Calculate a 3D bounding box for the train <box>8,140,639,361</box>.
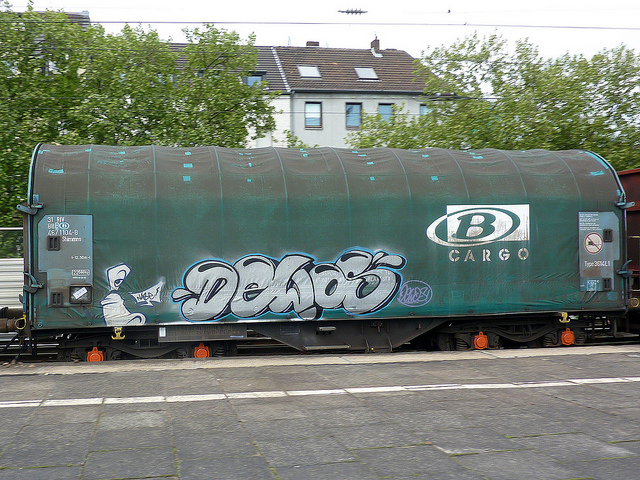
[{"bbox_3d":[-0.101,0.135,16.426,15.392,3.695,4.501,1,1,-6],"label":"train"}]
